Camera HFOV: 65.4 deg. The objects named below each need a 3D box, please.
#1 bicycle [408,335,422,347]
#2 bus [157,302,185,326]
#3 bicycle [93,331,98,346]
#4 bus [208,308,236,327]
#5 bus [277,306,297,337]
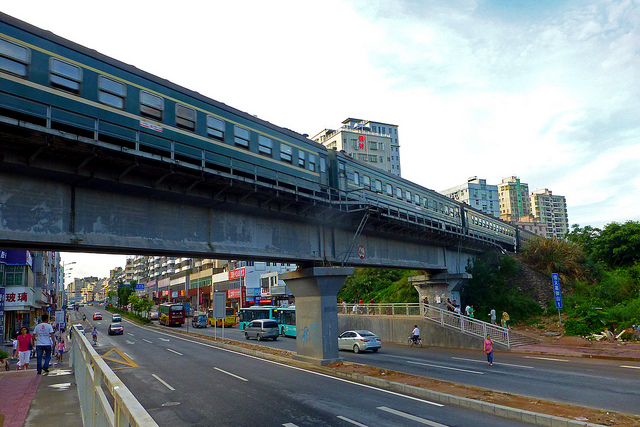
[{"bbox_3d":[7.931,10.615,41.688,1.052,0.640,0.607,-5,-6,31],"label":"bicycle"},{"bbox_3d":[-21.552,14.339,72.451,2.172,2.370,5.675,5,-5,-37],"label":"bus"},{"bbox_3d":[-20.561,11.424,45.826,0.228,1.237,0.849,0,-4,-28],"label":"bicycle"},{"bbox_3d":[-13.621,14.451,70.848,2.730,2.934,7.079,4,-5,-33],"label":"bus"},{"bbox_3d":[-3.512,11.420,52.925,0.740,3.158,3.132,1,-5,-33],"label":"bus"}]
